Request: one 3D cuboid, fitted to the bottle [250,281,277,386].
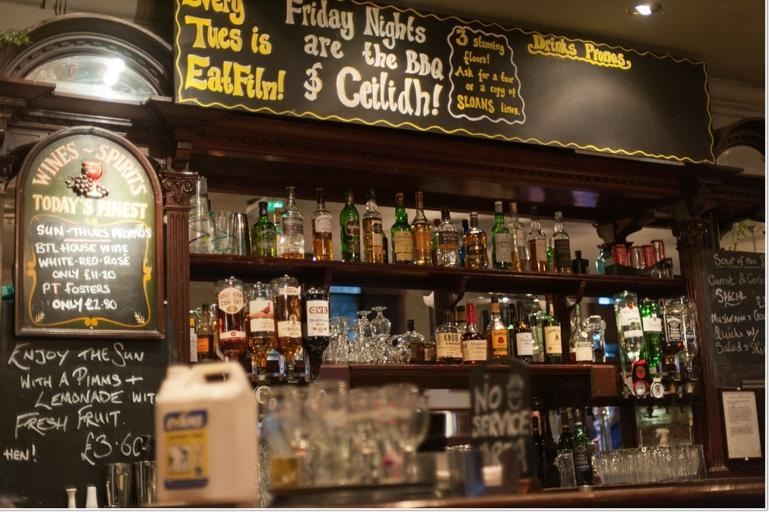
[{"bbox_3d":[-0.793,0.489,4.622,0.161,0.630,0.173,0,-9,0],"label":"bottle"}]

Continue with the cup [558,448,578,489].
[{"bbox_3d":[1.335,1.554,5.297,0.136,0.261,0.259,-1,-8,6],"label":"cup"}]

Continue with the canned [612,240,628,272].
[{"bbox_3d":[1.917,0.012,5.913,0.135,0.237,0.139,18,-23,-19],"label":"canned"}]

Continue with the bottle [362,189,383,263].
[{"bbox_3d":[-0.079,-0.212,5.241,0.159,0.572,0.316,0,-8,-1],"label":"bottle"}]

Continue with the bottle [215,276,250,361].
[{"bbox_3d":[-0.971,0.395,4.571,0.181,0.498,0.137,-2,-9,13],"label":"bottle"}]

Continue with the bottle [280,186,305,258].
[{"bbox_3d":[-0.626,-0.225,4.957,0.153,0.511,0.166,0,-9,0],"label":"bottle"}]

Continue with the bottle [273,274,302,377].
[{"bbox_3d":[-0.624,0.463,4.661,0.182,0.648,0.169,0,-9,0],"label":"bottle"}]

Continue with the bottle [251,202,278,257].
[{"bbox_3d":[-0.816,-0.165,4.926,0.167,0.385,0.255,2,-9,-19],"label":"bottle"}]

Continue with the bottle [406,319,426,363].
[{"bbox_3d":[0.247,0.624,5.329,0.159,0.289,0.164,-16,7,2],"label":"bottle"}]

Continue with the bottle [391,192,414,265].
[{"bbox_3d":[0.136,-0.197,5.271,0.153,0.533,0.192,1,-9,-8],"label":"bottle"}]

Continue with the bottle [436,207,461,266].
[{"bbox_3d":[0.499,-0.129,5.376,0.257,0.448,0.144,6,-11,-37],"label":"bottle"}]

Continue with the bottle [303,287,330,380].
[{"bbox_3d":[-0.446,0.515,4.781,0.178,0.593,0.232,1,-9,-7],"label":"bottle"}]

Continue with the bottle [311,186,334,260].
[{"bbox_3d":[-0.432,-0.224,5.058,0.131,0.494,0.152,1,-9,-8],"label":"bottle"}]

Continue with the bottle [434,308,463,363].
[{"bbox_3d":[0.467,0.585,5.281,0.194,0.373,0.289,-1,-8,4],"label":"bottle"}]

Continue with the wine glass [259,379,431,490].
[{"bbox_3d":[-0.153,0.618,2.496,0.479,0.269,0.395,-1,-14,4],"label":"wine glass"}]

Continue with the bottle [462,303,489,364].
[{"bbox_3d":[0.675,0.565,5.255,0.249,0.425,0.181,3,-9,-19],"label":"bottle"}]

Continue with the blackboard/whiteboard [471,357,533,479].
[{"bbox_3d":[0.401,0.560,2.524,0.261,0.402,0.088,-8,-11,40],"label":"blackboard/whiteboard"}]

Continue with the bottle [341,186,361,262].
[{"bbox_3d":[-0.245,-0.209,5.165,0.128,0.540,0.249,0,-9,-6],"label":"bottle"}]
